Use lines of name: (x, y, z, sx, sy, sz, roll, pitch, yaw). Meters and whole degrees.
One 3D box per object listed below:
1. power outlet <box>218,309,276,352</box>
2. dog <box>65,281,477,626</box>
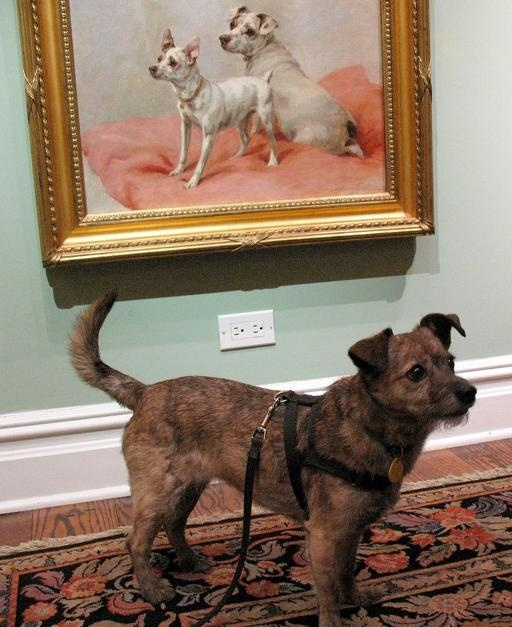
power outlet: (-0.043, 0.056, 2.419, 0.174, 0.104, 0.021, -6, 12, -7)
dog: (-0.006, 0.391, 1.736, 1.026, 0.804, 0.556, 8, 31, 17)
